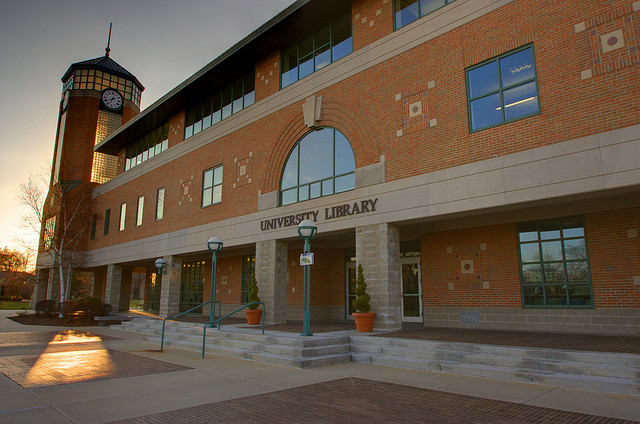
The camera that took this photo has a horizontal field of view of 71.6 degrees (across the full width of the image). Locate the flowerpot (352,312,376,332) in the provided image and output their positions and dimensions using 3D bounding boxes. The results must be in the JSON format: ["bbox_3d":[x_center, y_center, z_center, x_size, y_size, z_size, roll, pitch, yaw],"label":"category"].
[{"bbox_3d":[1.726,4.342,17.551,0.797,0.545,0.773,7,-16,-29],"label":"flowerpot"}]

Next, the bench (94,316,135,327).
[{"bbox_3d":[-13.482,7.067,28.930,2.650,0.593,2.333,2,-15,-13],"label":"bench"}]

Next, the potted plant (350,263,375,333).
[{"bbox_3d":[1.744,3.481,18.101,0.850,2.781,0.892,-2,-14,3],"label":"potted plant"}]

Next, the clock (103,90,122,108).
[{"bbox_3d":[-20.296,-11.094,43.073,2.039,1.831,0.206,6,-4,-42],"label":"clock"}]

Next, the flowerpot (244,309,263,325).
[{"bbox_3d":[-3.134,4.944,20.905,0.746,0.495,0.733,-5,-12,20],"label":"flowerpot"}]
